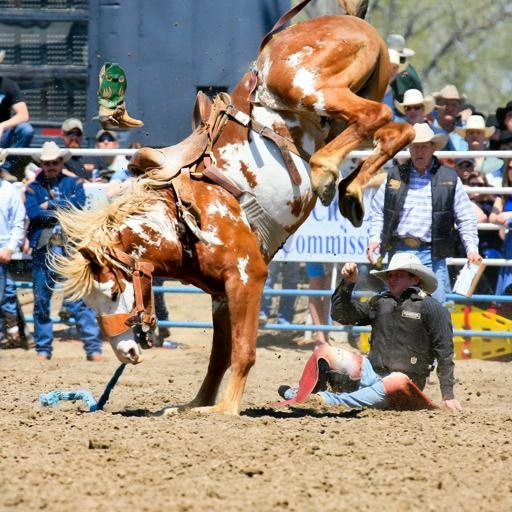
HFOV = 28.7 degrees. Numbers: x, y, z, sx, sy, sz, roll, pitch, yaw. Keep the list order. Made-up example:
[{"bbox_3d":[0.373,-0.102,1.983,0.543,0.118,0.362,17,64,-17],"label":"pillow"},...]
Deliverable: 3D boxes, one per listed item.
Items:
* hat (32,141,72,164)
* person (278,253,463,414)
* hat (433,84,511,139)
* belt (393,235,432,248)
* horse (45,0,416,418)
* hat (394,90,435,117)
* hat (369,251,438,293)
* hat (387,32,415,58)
[{"bbox_3d":[-1.804,-0.905,8.888,0.231,0.095,0.246,-9,-4,-3],"label":"hat"},{"bbox_3d":[0.778,0.516,6.719,1.250,1.003,0.872,1,1,2],"label":"person"},{"bbox_3d":[2.215,-1.695,11.134,0.609,0.319,0.790,-19,32,21],"label":"hat"},{"bbox_3d":[1.249,-0.116,8.079,0.152,0.048,0.147,8,-5,33],"label":"belt"},{"bbox_3d":[-0.107,-0.334,6.158,2.004,2.629,0.703,2,4,1],"label":"horse"},{"bbox_3d":[1.568,-1.531,10.025,0.416,0.142,0.422,-1,-16,8],"label":"hat"},{"bbox_3d":[1.119,0.106,6.943,0.402,0.142,0.299,28,-32,-22],"label":"hat"},{"bbox_3d":[1.744,-2.523,12.045,0.451,0.194,0.550,8,25,1],"label":"hat"}]
